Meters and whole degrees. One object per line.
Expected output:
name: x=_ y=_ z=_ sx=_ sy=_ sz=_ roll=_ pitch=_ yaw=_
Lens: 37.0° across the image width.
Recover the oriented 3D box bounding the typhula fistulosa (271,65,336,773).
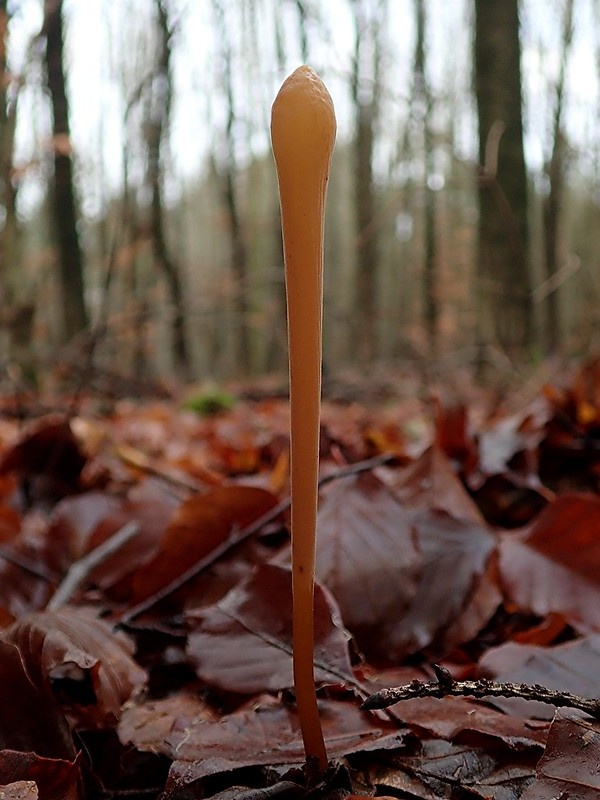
typhula fistulosa: x=0.006 y=0.013 z=0.521 sx=0.035 sy=0.405 sz=0.089 roll=-1 pitch=14 yaw=7
